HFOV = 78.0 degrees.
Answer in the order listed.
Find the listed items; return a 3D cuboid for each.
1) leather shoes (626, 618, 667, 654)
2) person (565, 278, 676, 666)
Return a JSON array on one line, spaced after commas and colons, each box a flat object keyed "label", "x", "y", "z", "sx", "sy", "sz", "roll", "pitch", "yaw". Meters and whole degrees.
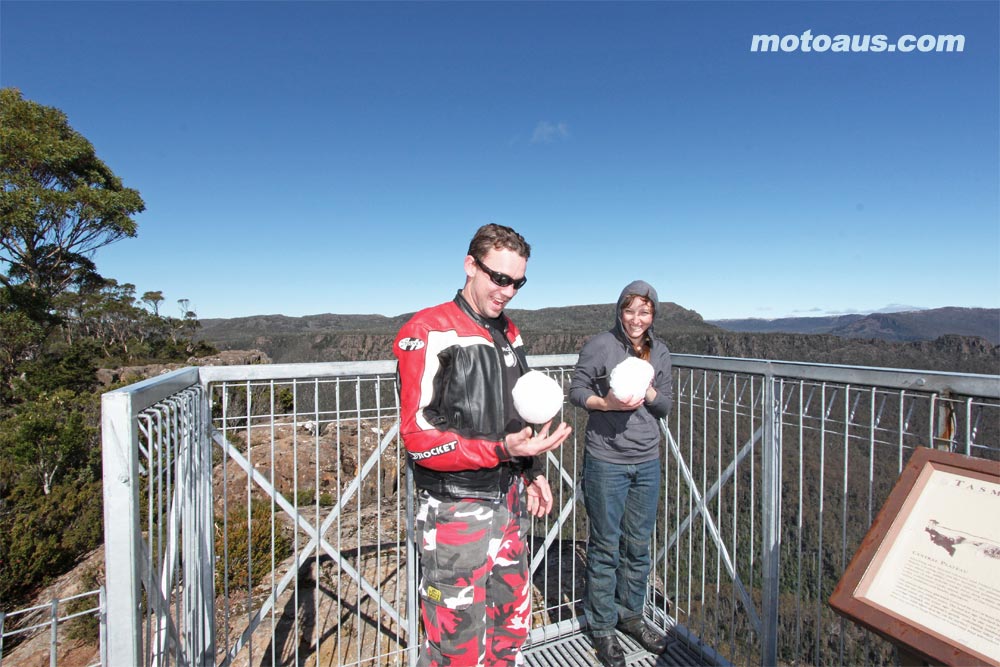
[{"label": "leather shoes", "x": 1.249, "y": 2.600, "z": 5.394, "sx": 0.359, "sy": 0.152, "sz": 0.171, "roll": 26, "pitch": 14, "yaw": 31}, {"label": "person", "x": 1.068, "y": 1.175, "z": 5.324, "sx": 0.890, "sy": 3.243, "sz": 0.538, "roll": -2, "pitch": 5, "yaw": -21}]
